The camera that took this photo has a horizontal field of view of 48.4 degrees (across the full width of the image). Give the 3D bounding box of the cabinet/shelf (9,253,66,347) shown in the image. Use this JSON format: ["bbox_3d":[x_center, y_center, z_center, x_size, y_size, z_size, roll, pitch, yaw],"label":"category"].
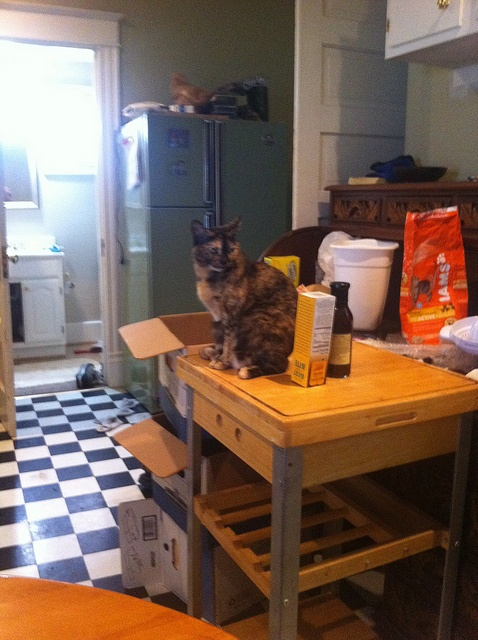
[{"bbox_3d":[-1.672,-0.155,4.437,0.424,0.791,0.177,-8,14,-33],"label":"cabinet/shelf"}]

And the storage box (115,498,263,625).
[{"bbox_3d":[-0.131,0.736,1.608,0.358,0.246,0.368,4,20,-42],"label":"storage box"}]

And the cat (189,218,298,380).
[{"bbox_3d":[0.017,-0.056,1.180,0.241,0.322,0.206,0,12,-14],"label":"cat"}]

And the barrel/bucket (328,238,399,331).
[{"bbox_3d":[0.380,-0.113,1.708,0.281,0.314,0.258,-1,5,0],"label":"barrel/bucket"}]
